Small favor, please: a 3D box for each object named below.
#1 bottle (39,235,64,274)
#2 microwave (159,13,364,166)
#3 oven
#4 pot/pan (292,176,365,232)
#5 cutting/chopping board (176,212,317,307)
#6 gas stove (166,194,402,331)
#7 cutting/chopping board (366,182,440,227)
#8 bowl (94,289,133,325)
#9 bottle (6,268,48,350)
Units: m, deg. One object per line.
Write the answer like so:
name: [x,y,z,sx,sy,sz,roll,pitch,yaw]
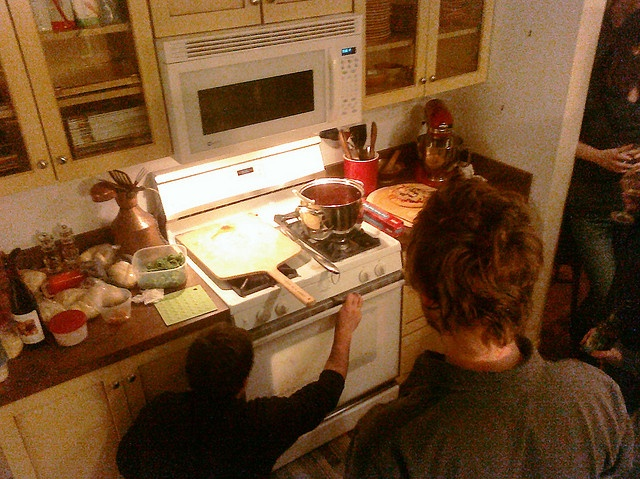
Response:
bottle: [-1.160,0.061,2.249,0.109,0.187,0.046,-6,1,9]
microwave: [-0.245,-0.678,2.243,0.894,0.502,0.318,-20,39,-24]
oven: [-0.108,0.542,2.606,0.967,0.881,0.653,-19,30,-36]
pot/pan: [0.058,-0.173,2.361,0.304,0.194,0.241,-31,46,-30]
cutting/chopping board: [-0.283,0.077,2.382,0.434,0.746,0.035,-25,47,25]
gas stove: [-0.072,0.131,2.271,0.713,0.222,0.752,-21,38,-29]
cutting/chopping board: [0.445,-0.217,2.718,0.288,0.067,0.293,-28,46,-27]
bowl: [-0.798,0.257,1.987,0.126,0.092,0.127,4,49,-5]
bottle: [-1.096,0.250,1.907,0.082,0.249,0.182,-18,34,-20]
